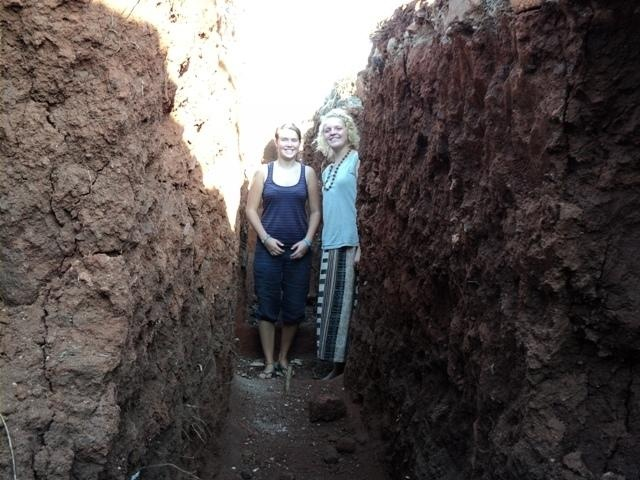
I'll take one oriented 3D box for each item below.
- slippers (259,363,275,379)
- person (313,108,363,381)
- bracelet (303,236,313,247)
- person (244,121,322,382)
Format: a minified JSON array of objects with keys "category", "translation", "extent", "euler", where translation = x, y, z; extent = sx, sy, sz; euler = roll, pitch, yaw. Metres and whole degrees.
[{"category":"slippers","translation":[-0.563,1.395,4.985],"extent":[0.158,0.154,0.166],"euler":[4,-16,-7]},{"category":"person","translation":[0.207,-0.098,4.925],"extent":[0.421,2.627,0.611],"euler":[2,-15,3]},{"category":"bracelet","translation":[-0.128,0.029,5.053],"extent":[0.060,0.121,0.161],"euler":[-6,-18,28]},{"category":"person","translation":[-0.399,0.146,5.122],"extent":[0.749,2.635,0.943],"euler":[-2,-15,15]}]
